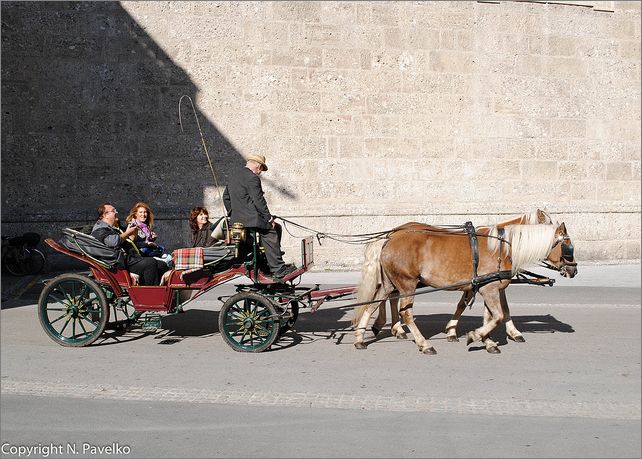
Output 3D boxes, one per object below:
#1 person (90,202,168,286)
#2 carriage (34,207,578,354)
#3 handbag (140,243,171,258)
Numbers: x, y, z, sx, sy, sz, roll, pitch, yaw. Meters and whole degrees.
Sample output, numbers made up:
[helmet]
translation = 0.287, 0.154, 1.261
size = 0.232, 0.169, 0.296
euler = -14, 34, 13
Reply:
[person]
translation = -3.311, 0.429, 18.174
size = 1.027, 1.745, 0.766
euler = -4, 13, 10
[carriage]
translation = 1.512, 0.881, 18.975
size = 12.234, 3.132, 3.075
euler = 0, 2, 3
[handbag]
translation = -2.982, 0.390, 18.806
size = 0.555, 0.169, 0.243
euler = 6, -19, -38
